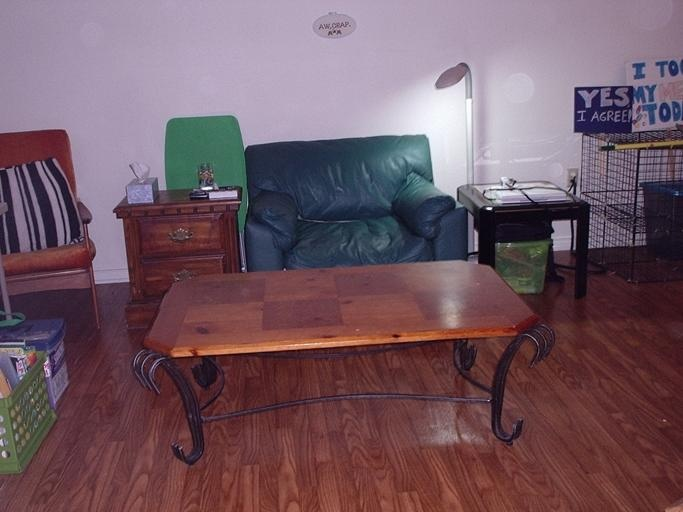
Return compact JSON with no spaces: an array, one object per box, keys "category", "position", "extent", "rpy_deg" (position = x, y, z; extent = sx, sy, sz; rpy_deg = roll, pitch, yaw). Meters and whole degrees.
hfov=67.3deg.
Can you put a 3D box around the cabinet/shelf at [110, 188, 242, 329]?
[{"category":"cabinet/shelf","position":[-1.068,-0.041,3.519],"extent":[0.754,0.790,0.584],"rpy_deg":[-4,19,-14]}]

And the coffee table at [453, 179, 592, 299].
[{"category":"coffee table","position":[1.207,-0.339,3.594],"extent":[0.714,0.788,0.990],"rpy_deg":[-4,19,-6]}]

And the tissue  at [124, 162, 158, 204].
[{"category":"tissue ","position":[-1.356,-0.503,3.470],"extent":[0.167,0.318,0.314],"rpy_deg":[-1,17,-8]}]

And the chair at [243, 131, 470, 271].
[{"category":"chair","position":[0.068,-0.282,3.628],"extent":[1.423,1.067,0.845],"rpy_deg":[-4,17,-6]}]
